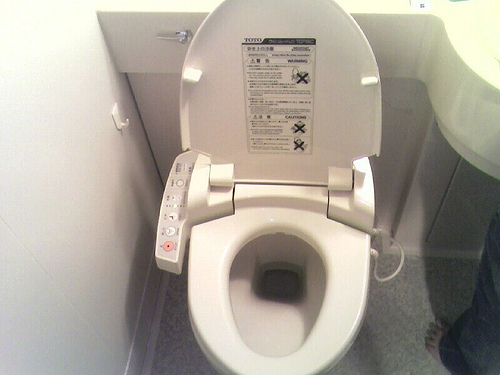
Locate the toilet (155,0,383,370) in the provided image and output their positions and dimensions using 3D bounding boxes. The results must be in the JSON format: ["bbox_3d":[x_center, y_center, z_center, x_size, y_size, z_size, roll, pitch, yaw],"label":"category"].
[{"bbox_3d":[-0.004,0.003,1.028,0.600,0.726,0.541,6,42,16],"label":"toilet"}]

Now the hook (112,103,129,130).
[{"bbox_3d":[-0.391,-0.213,1.280,0.026,0.083,0.062,0,41,10],"label":"hook"}]
